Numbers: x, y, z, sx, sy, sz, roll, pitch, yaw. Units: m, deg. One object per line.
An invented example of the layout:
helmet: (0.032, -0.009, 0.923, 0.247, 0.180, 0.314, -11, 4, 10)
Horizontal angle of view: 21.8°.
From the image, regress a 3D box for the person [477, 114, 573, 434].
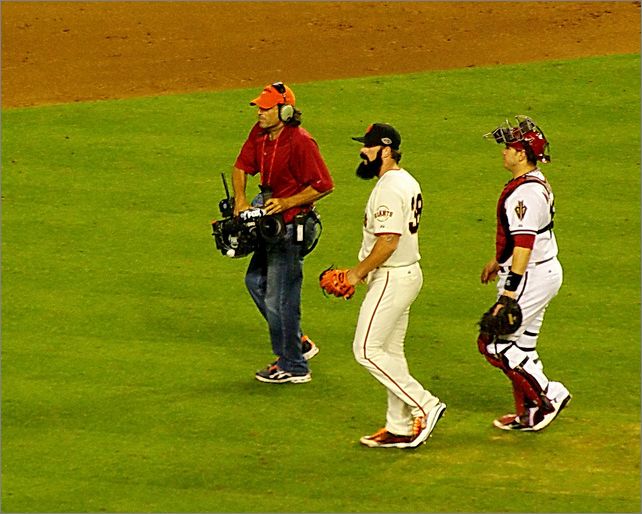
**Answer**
person: (1.930, 0.224, 15.783, 1.248, 2.588, 1.149, -3, 5, -16)

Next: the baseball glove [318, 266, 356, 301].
baseball glove: (0.189, 0.256, 15.260, 0.370, 0.139, 0.241, -21, 54, -28)

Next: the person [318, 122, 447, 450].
person: (0.582, 0.283, 15.251, 0.945, 2.916, 1.108, -4, 21, 1)

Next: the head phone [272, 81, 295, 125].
head phone: (-0.344, -1.484, 16.208, 0.201, 0.376, 0.453, -14, 3, 1)
